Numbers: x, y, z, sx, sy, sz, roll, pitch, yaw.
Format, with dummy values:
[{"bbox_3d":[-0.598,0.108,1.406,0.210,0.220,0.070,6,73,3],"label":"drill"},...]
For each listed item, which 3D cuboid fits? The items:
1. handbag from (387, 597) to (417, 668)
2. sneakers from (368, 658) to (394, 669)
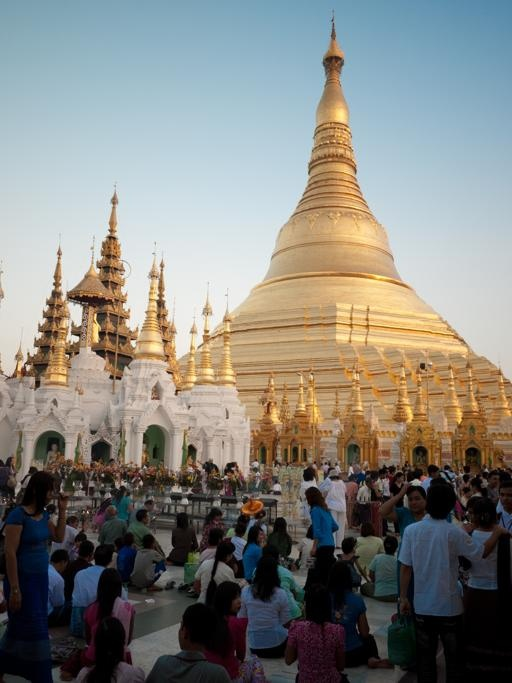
[{"bbox_3d":[1.052,2.155,4.652,0.188,0.372,0.235,-2,-13,10],"label":"handbag"},{"bbox_3d":[0.968,2.479,4.983,0.234,0.080,0.125,-7,-7,10],"label":"sneakers"}]
